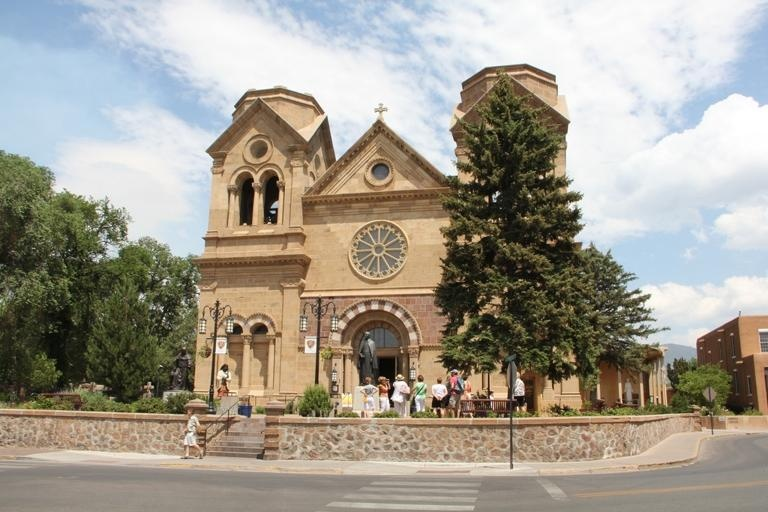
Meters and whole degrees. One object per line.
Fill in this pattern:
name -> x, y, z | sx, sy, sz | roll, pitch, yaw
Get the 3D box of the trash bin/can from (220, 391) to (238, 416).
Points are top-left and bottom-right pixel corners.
trash bin/can -> -8.856, 8.448, 41.304 | 1.337, 1.336, 1.298 | 0, -4, 3

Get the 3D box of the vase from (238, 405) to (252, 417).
vase -> -7.796, 8.725, 41.113 | 0.718, 0.546, 0.705 | 2, -17, -9

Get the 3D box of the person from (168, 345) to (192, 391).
person -> -14.248, 7.948, 51.302 | 0.866, 2.952, 1.266 | -13, -19, 42

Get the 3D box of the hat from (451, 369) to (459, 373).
hat -> 3.728, 6.048, 38.284 | 0.269, 0.224, 0.223 | 5, -11, 5

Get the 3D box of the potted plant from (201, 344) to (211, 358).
potted plant -> -12.346, 6.619, 50.781 | 0.834, 0.988, 0.838 | 6, -8, -17

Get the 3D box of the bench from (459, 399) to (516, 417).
bench -> 5.057, 7.647, 36.686 | 2.454, 0.913, 1.339 | -2, -15, 7
